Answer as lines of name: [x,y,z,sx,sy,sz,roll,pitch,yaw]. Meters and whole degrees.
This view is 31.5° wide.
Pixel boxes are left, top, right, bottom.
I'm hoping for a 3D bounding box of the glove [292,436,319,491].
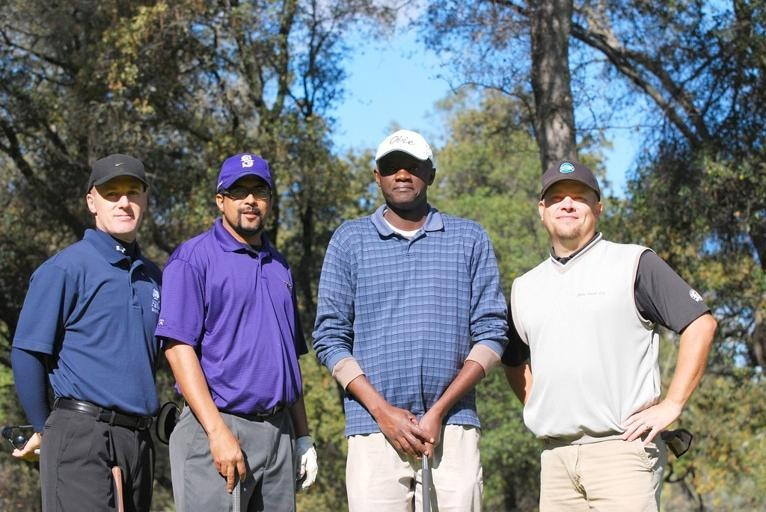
glove: [-0.868,2.375,15.551,0.317,0.560,0.188,-3,-2,-37]
